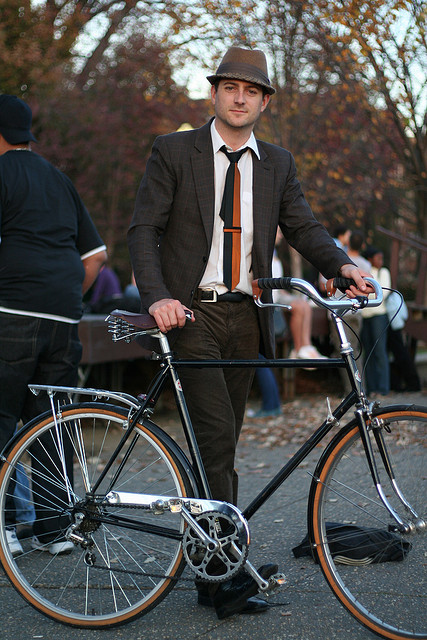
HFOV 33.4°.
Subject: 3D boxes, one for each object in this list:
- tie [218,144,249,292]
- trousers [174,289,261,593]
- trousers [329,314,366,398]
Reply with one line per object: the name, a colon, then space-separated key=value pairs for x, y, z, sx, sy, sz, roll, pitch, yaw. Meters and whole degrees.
tie: x=0.080 y=-0.393 z=2.705 sx=0.131 sy=0.554 sz=0.098 roll=-1 pitch=2 yaw=-9
trousers: x=0.017 y=0.469 z=2.698 sx=0.314 sy=1.175 sz=0.591 roll=-1 pitch=2 yaw=6
trousers: x=1.393 y=0.396 z=7.869 sx=0.263 sy=0.891 sz=0.270 roll=-9 pitch=-4 yaw=20
